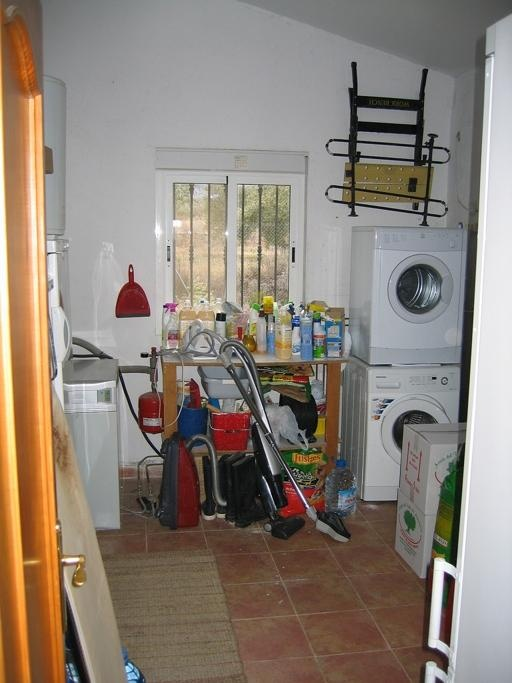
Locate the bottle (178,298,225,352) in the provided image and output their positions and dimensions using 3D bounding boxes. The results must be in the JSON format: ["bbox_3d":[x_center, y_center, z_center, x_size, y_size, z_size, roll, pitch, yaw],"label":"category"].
[{"bbox_3d":[-0.350,-0.097,3.318,0.292,0.514,0.166,0,0,-12],"label":"bottle"}]

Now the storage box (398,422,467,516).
[{"bbox_3d":[0.862,0.676,2.635,0.303,0.342,0.232,17,0,-40],"label":"storage box"}]

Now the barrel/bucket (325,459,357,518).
[{"bbox_3d":[0.512,0.883,3.235,0.179,0.347,0.185,-2,15,0],"label":"barrel/bucket"}]

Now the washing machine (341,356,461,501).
[{"bbox_3d":[1.024,0.548,3.566,0.726,0.929,0.785,-7,12,-21],"label":"washing machine"}]

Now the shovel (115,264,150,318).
[{"bbox_3d":[-0.859,-0.343,3.614,0.224,0.427,0.030,-2,-27,-16],"label":"shovel"}]

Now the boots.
[{"bbox_3d":[-0.071,0.836,3.176,0.327,0.440,0.455,-1,25,24],"label":"boots"}]

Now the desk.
[{"bbox_3d":[0.079,0.323,3.578,0.889,0.810,0.783,0,2,-8],"label":"desk"}]

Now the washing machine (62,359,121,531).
[{"bbox_3d":[-0.970,0.552,3.138,0.396,0.891,0.608,2,16,-2],"label":"washing machine"}]

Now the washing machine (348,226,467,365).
[{"bbox_3d":[0.968,-0.295,3.378,0.711,0.883,0.348,3,7,13],"label":"washing machine"}]

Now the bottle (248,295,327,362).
[{"bbox_3d":[0.213,-0.097,3.470,0.498,0.436,0.384,2,13,11],"label":"bottle"}]
